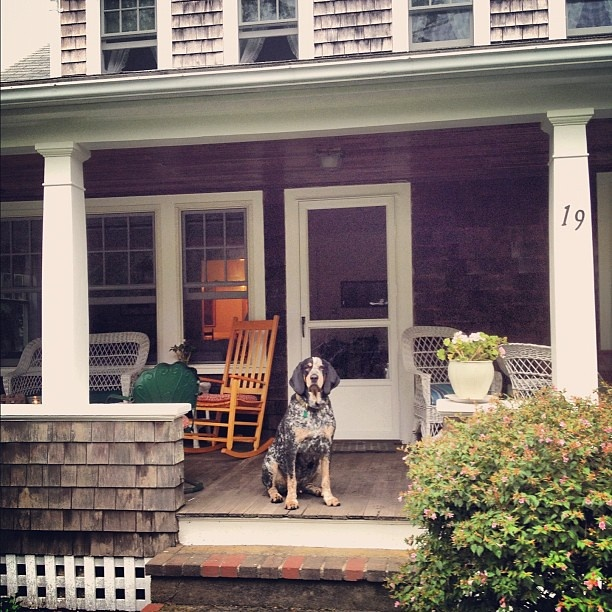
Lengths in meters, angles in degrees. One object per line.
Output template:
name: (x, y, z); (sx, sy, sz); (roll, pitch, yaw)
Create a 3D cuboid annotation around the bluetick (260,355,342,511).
bluetick: (-0.032, 0.868, 6.359); (0.508, 1.001, 0.568); (-3, -3, -19)

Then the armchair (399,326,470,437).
armchair: (1.128, 0.622, 8.120); (0.571, 0.967, 0.557); (1, 3, 4)

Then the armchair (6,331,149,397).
armchair: (-2.148, 0.535, 8.752); (1.142, 1.039, 0.682); (-1, -1, 5)

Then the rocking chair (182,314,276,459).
rocking chair: (-0.689, 0.756, 8.373); (0.789, 1.334, 0.751); (4, 3, 39)

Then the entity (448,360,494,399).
entity: (1.161, 0.505, 6.397); (0.353, 0.300, 0.362); (-2, 6, -44)

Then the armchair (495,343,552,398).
armchair: (1.731, 0.500, 7.199); (0.423, 0.430, 1.313); (-4, -2, 13)
